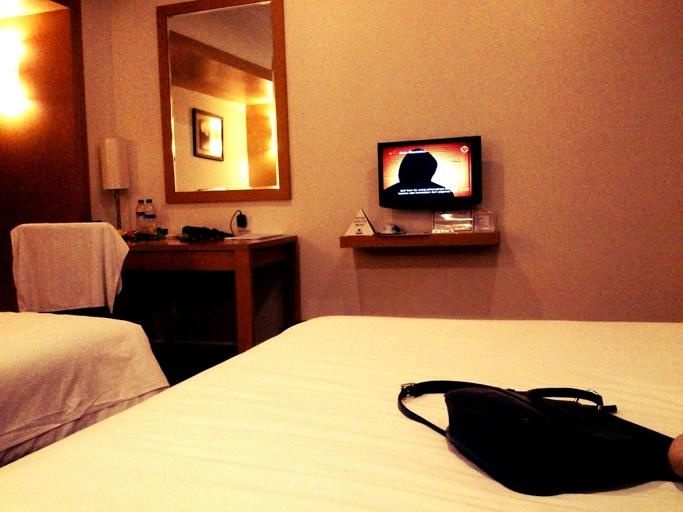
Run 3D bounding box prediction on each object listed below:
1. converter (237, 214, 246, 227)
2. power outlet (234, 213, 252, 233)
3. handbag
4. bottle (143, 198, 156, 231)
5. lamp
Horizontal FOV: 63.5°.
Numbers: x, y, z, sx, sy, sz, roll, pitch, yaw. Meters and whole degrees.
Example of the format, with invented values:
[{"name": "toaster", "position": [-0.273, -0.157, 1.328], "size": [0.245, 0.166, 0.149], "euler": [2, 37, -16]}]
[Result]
[{"name": "converter", "position": [-0.671, -0.238, 3.673], "size": [0.086, 0.089, 0.035], "euler": [4, 11, 17]}, {"name": "power outlet", "position": [-0.658, -0.219, 3.733], "size": [0.090, 0.128, 0.132], "euler": [0, 0, -19]}, {"name": "handbag", "position": [0.446, 0.328, 1.109], "size": [0.304, 0.103, 0.228], "euler": [-1, -2, 20]}, {"name": "bottle", "position": [-1.312, -0.296, 3.775], "size": [0.090, 0.194, 0.251], "euler": [-2, 10, -19]}, {"name": "lamp", "position": [-1.629, -0.515, 3.896], "size": [0.293, 0.634, 0.161], "euler": [6, 11, 25]}]
